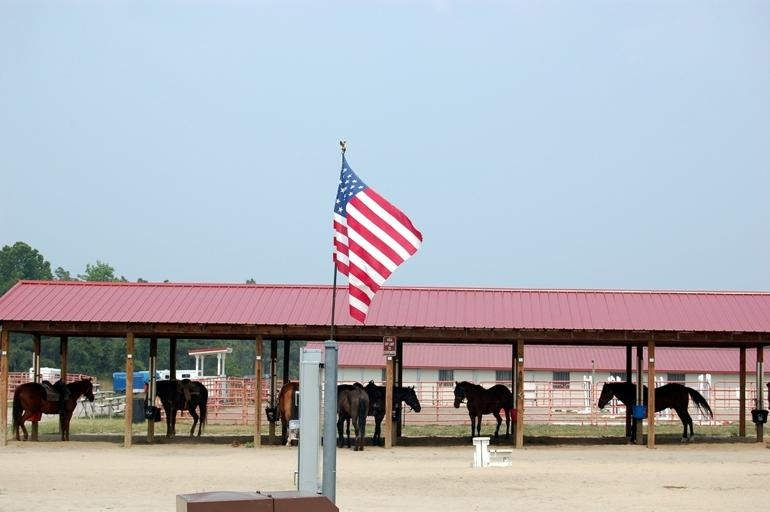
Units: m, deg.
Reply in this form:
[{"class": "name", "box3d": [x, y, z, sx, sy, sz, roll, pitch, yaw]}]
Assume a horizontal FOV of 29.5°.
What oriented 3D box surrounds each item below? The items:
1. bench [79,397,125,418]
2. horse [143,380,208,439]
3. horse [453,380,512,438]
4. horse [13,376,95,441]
[{"class": "bench", "box3d": [-12.942, 6.944, 66.750, 1.609, 0.464, 1.636, 0, -9, -2]}, {"class": "horse", "box3d": [-8.257, 5.974, 57.382, 0.981, 2.367, 3.591, -6, -7, 37]}, {"class": "horse", "box3d": [3.994, 5.992, 57.031, 2.382, 2.178, 2.350, -5, -14, 18]}, {"class": "horse", "box3d": [-12.476, 5.673, 54.873, 2.888, 2.439, 1.481, 4, -14, -19]}]
